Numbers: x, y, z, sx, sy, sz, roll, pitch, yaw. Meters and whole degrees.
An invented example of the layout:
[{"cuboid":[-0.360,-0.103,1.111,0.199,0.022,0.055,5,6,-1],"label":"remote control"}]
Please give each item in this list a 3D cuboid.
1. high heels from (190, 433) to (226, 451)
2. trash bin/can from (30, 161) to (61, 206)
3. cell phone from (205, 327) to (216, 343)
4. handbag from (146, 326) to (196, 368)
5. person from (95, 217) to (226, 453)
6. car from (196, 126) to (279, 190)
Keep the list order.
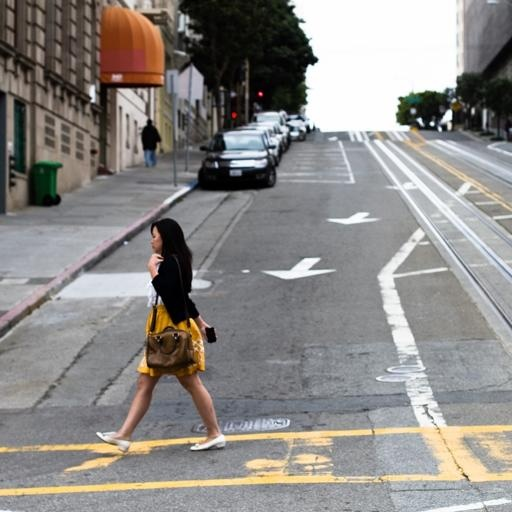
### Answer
[{"cuboid":[-0.318,1.329,5.219,0.267,0.118,0.102,-4,4,3],"label":"high heels"},{"cuboid":[-5.599,-1.897,19.556,0.743,1.161,0.441,2,8,23],"label":"trash bin/can"},{"cuboid":[-0.316,0.564,5.230,0.091,0.138,0.033,2,21,12],"label":"cell phone"},{"cuboid":[-0.582,0.635,5.072,0.332,0.290,0.153,-5,-2,13],"label":"handbag"},{"cuboid":[-0.626,0.588,5.158,0.760,1.652,0.386,-3,7,-6],"label":"person"},{"cuboid":[-0.557,-3.061,24.014,2.391,1.648,2.739,-2,9,0],"label":"car"}]
